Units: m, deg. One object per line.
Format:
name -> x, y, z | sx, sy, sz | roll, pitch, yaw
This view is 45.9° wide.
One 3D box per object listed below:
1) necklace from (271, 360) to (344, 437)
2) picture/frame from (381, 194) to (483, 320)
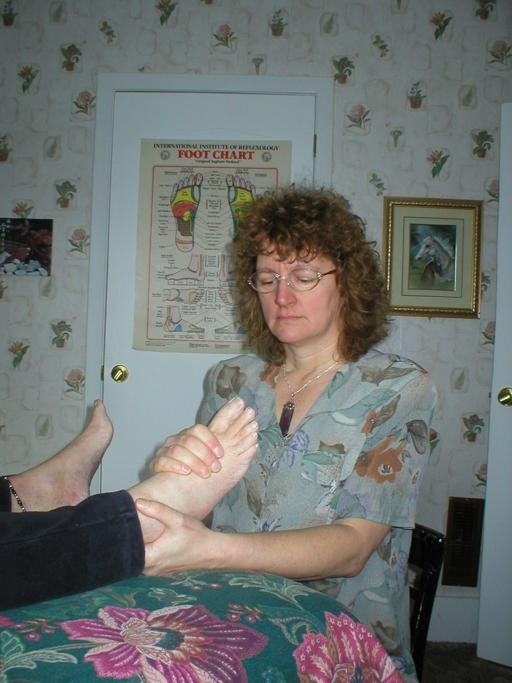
necklace -> 0.102, 0.113, 1.148 | 0.030, 0.152, 0.041 | 39, 12, 1
picture/frame -> 0.609, -0.296, 2.071 | 0.498, 0.522, 0.028 | 1, 2, -3
